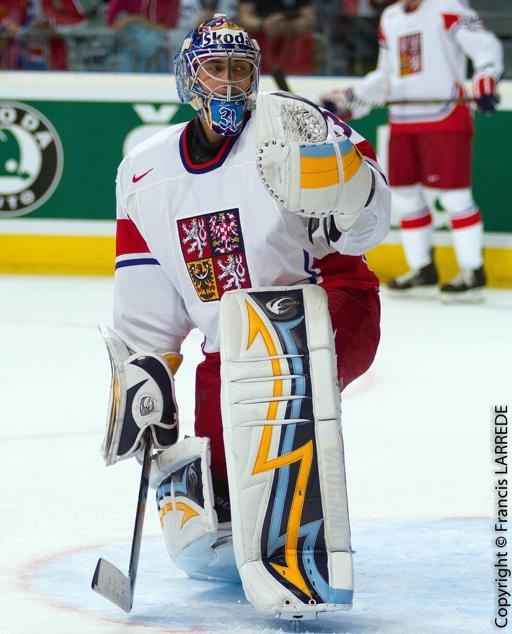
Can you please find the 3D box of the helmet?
[{"bbox_3d":[-0.064,-0.442,1.754,0.186,0.200,0.229,-4,19,-6],"label":"helmet"}]

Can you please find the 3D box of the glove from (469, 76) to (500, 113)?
[{"bbox_3d":[1.039,-1.026,4.437,0.143,0.160,0.053,2,-5,33],"label":"glove"}]

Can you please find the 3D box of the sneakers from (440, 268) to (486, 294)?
[{"bbox_3d":[1.006,-0.180,4.849,0.314,0.112,0.098,-2,-5,-41],"label":"sneakers"}]
